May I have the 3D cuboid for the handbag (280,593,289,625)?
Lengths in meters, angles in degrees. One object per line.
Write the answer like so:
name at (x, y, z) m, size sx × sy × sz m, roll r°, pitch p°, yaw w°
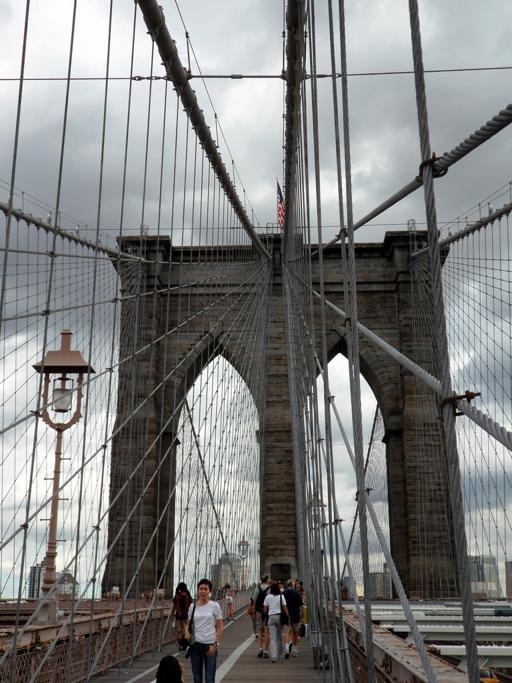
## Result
handbag at (0.424, 4.138, 8.768) m, size 0.155 × 0.393 × 0.108 m, roll 0°, pitch -7°, yaw -8°
